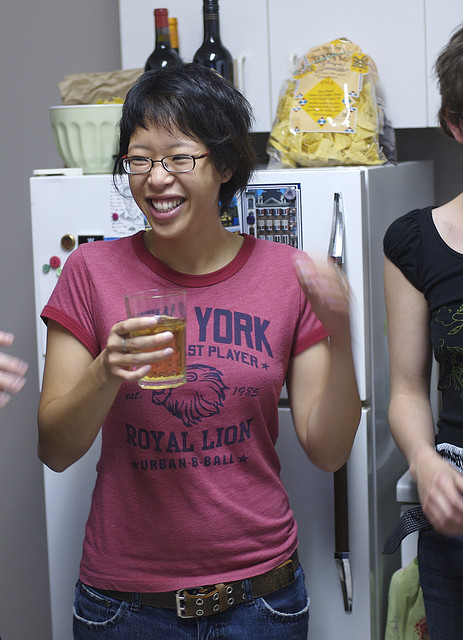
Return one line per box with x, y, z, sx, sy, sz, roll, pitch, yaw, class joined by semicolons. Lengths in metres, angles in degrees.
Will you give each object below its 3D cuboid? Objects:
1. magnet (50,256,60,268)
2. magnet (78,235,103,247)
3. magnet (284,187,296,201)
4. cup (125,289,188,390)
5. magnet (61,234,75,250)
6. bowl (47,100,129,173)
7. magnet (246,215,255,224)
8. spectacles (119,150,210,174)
-0.437;-0.145;1.387;0.025;0.023;0.006;4;5;12;magnet
-0.339;-0.198;1.353;0.053;0.019;0.057;-12;16;-24;magnet
0.128;-0.283;1.252;0.026;0.024;0.007;0;0;19;magnet
-0.088;0.023;0.622;0.076;0.108;0.073;-5;0;0;cup
-0.397;-0.191;1.365;0.034;0.031;0.008;-2;4;8;magnet
-0.423;-0.460;1.491;0.239;0.162;0.200;-16;4;-24;bowl
0.043;-0.232;1.285;0.018;0.016;0.017;4;-2;6;magnet
-0.102;-0.202;0.727;0.134;0.027;0.063;2;17;26;spectacles
